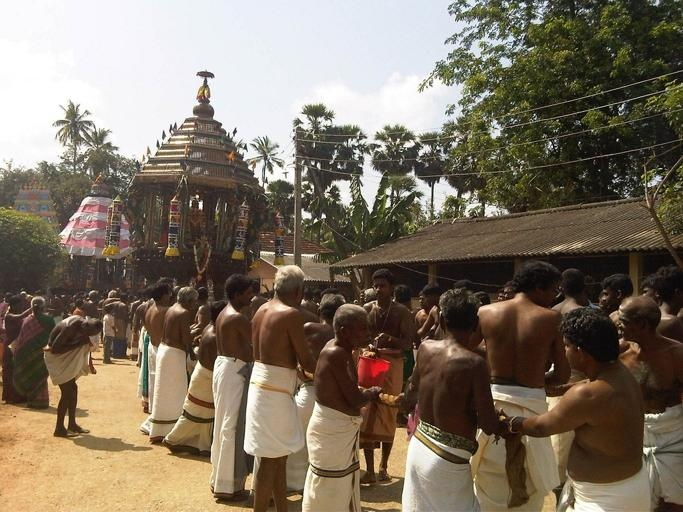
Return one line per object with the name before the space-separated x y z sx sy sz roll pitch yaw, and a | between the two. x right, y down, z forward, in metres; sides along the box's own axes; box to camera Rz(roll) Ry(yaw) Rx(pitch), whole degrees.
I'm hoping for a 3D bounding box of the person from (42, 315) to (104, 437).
person | -4.140 1.825 9.546 0.749 1.797 0.630 1 -3 -28
